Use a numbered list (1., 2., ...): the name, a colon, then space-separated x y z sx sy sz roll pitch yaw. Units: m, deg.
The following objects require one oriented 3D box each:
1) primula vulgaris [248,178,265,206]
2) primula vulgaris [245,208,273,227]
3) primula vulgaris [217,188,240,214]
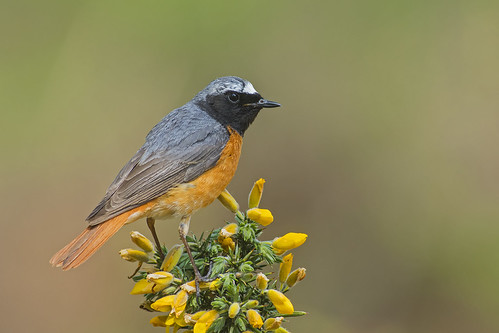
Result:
1. primula vulgaris: 0.056 0.205 4.059 0.085 0.279 0.098 18 0 -31
2. primula vulgaris: 0.074 0.353 3.870 0.179 0.099 0.083 12 19 16
3. primula vulgaris: -0.139 0.287 4.236 0.108 0.107 0.346 -33 4 -16
